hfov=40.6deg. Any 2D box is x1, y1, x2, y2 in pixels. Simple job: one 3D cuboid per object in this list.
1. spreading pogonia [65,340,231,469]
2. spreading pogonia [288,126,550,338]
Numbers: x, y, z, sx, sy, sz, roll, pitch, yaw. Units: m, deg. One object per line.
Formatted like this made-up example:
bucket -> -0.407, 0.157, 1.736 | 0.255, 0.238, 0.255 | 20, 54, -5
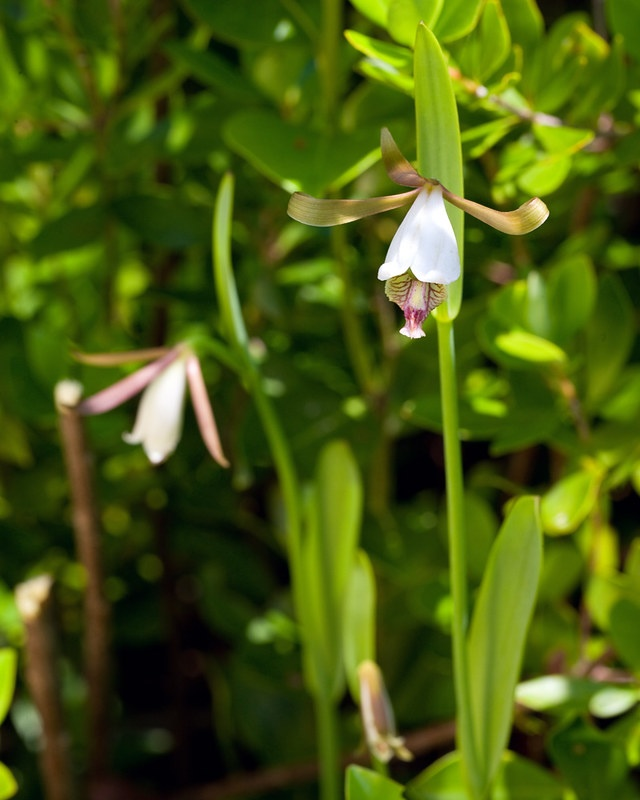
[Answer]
spreading pogonia -> -0.109, 0.006, 0.551 | 0.106, 0.070, 0.079 | 4, 51, -3
spreading pogonia -> 0.052, -0.092, 0.485 | 0.155, 0.109, 0.053 | 4, 11, -5
